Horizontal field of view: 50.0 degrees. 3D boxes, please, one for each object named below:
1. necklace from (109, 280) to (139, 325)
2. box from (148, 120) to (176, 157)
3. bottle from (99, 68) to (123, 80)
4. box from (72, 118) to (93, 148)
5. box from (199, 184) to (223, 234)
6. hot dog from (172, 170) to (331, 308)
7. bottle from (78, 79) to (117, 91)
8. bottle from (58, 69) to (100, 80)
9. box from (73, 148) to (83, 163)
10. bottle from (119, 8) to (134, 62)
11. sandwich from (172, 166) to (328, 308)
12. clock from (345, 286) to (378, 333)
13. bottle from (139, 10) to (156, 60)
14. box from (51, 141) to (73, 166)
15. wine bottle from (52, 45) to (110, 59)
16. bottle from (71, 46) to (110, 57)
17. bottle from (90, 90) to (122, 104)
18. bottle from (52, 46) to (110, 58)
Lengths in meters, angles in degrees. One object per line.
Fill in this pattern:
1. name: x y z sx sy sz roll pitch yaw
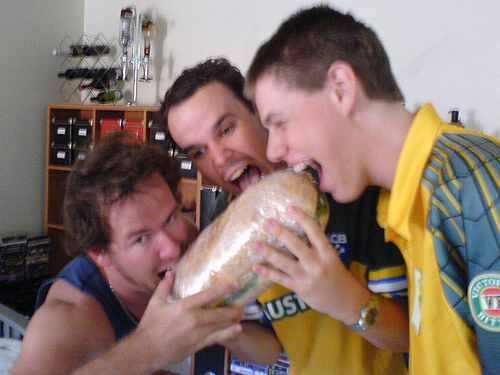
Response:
1. necklace: -0.543 0.496 2.333 0.039 0.159 0.137 -45 7 -13
2. box: -0.608 -0.353 3.749 0.146 0.223 0.364 -5 16 -23
3. bottle: -1.101 -0.928 4.363 0.267 0.101 0.142 12 18 32
4. box: -1.360 -0.433 4.300 0.124 0.256 0.283 -8 17 -33
5. box: -0.257 0.134 3.488 0.135 0.306 0.185 0 14 -6
6. hot dog: 0.013 0.190 2.036 0.744 0.267 0.364 -36 31 -30
7. bottle: -1.297 -0.861 4.492 0.370 0.104 0.274 1 15 -4
8. bottle: -1.443 -0.952 4.511 0.280 0.081 0.074 -10 12 7
9. box: -1.392 -0.261 4.271 0.049 0.074 0.243 -4 16 -19
10. bottle: -0.960 -1.186 4.176 0.106 0.390 0.247 -2 14 -15
11. sandwich: 0.012 0.184 1.973 0.676 0.223 0.330 -41 46 -22
12. clock: 0.417 0.436 1.917 0.057 0.147 0.126 9 10 4
13. bottle: -0.801 -1.195 4.198 0.128 0.385 0.401 -1 15 -9
14. box: -1.584 -0.321 4.520 0.175 0.257 0.248 5 13 -10
15. wine bottle: -1.448 -1.164 4.579 0.127 0.140 0.569 1 12 35
16. bottle: -1.364 -1.161 4.563 0.315 0.088 0.139 -3 16 -16
17. bottle: -1.181 -0.730 4.340 0.221 0.076 0.118 -9 3 -27
18. bottle: -1.423 -1.147 4.515 0.458 0.093 0.237 -3 16 -18
